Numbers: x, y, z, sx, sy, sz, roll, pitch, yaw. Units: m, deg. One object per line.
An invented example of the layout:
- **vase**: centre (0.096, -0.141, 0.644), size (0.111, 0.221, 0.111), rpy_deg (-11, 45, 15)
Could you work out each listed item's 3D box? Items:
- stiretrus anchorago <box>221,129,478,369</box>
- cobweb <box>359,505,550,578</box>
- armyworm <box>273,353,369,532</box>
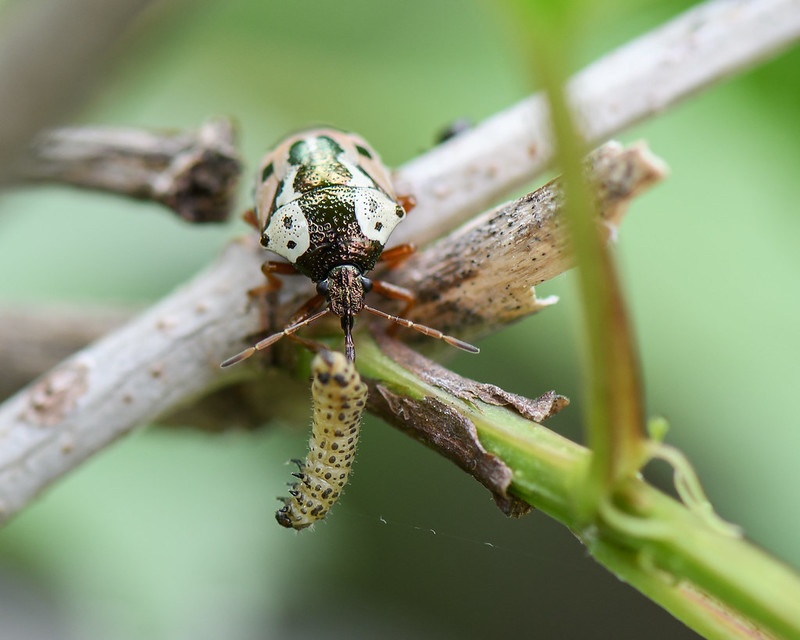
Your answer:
- **stiretrus anchorago**: centre (-0.212, -0.331, 2.752), size (0.536, 0.520, 0.689), rpy_deg (-4, 23, -9)
- **cobweb**: centre (0.068, 0.558, 2.176), size (0.467, 0.050, 0.067), rpy_deg (10, 24, 22)
- **armyworm**: centre (-0.199, 0.349, 2.300), size (0.176, 0.532, 0.133), rpy_deg (17, 6, 7)
